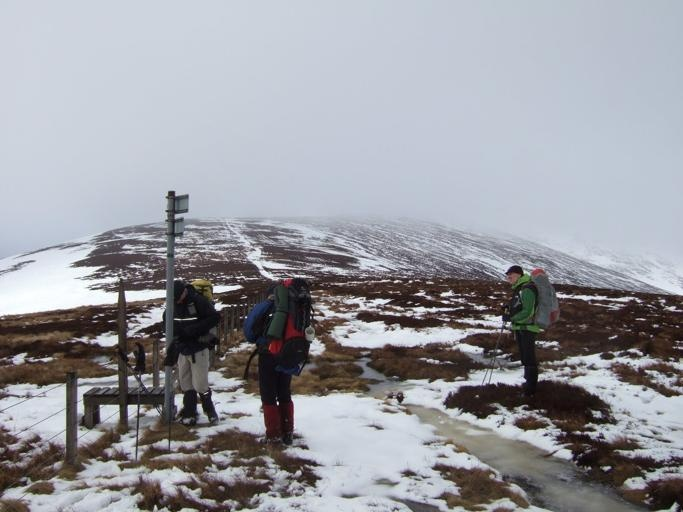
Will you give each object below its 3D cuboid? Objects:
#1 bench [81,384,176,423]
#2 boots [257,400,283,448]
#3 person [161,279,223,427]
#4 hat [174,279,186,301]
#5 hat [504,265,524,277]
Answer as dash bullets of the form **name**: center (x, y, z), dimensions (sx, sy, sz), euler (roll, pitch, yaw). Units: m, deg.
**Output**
- **bench**: center (-4.985, 3.153, 11.794), dimensions (1.739, 0.489, 1.130), euler (0, 0, -3)
- **boots**: center (-1.443, 3.512, 10.919), dimensions (0.334, 0.837, 0.211), euler (-3, -2, -12)
- **person**: center (-3.218, 2.157, 11.453), dimensions (1.055, 3.273, 0.917), euler (-3, -2, -12)
- **hat**: center (-3.523, 0.772, 11.370), dimensions (0.304, 0.488, 0.238), euler (-3, -2, -7)
- **hat**: center (4.696, 0.359, 14.151), dimensions (0.634, 0.247, 0.395), euler (6, -4, 16)
